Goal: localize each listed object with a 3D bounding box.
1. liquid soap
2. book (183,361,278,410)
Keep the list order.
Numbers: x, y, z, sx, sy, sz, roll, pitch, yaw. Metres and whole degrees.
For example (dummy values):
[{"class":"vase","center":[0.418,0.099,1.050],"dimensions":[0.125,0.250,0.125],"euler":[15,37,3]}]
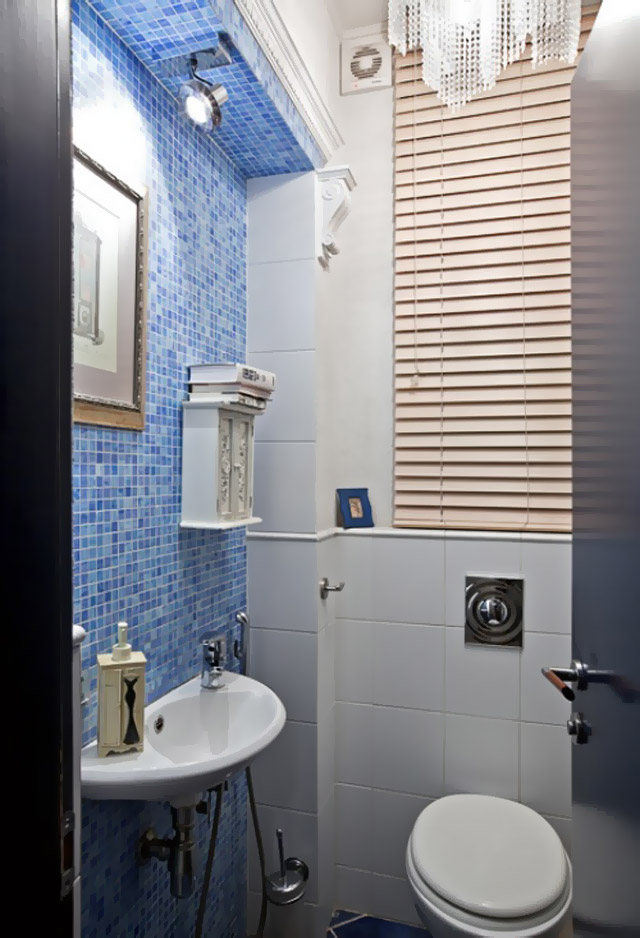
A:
[{"class":"liquid soap","center":[-0.349,0.378,1.255],"dimensions":[0.076,0.228,0.103],"euler":[0,0,-21]},{"class":"book","center":[-0.187,-0.191,1.676],"dimensions":[0.239,0.094,0.141],"euler":[1,-1,-37]}]
